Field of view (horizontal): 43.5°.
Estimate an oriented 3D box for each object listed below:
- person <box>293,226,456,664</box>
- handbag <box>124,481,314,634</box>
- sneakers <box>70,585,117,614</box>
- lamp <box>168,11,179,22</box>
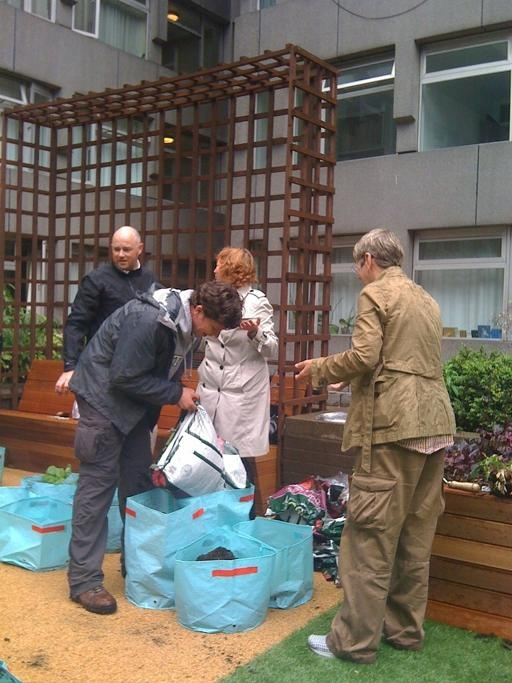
[{"bbox_3d":[0.504,0.376,2.459,0.550,1.269,0.366,1,1,-30],"label":"person"},{"bbox_3d":[-0.171,0.925,2.851,0.687,0.407,0.624,1,2,10],"label":"handbag"},{"bbox_3d":[-0.720,1.127,2.846,0.229,0.083,0.085,-1,2,41],"label":"sneakers"},{"bbox_3d":[-1.544,-5.995,11.921,0.236,0.270,0.061,1,1,-45],"label":"lamp"}]
